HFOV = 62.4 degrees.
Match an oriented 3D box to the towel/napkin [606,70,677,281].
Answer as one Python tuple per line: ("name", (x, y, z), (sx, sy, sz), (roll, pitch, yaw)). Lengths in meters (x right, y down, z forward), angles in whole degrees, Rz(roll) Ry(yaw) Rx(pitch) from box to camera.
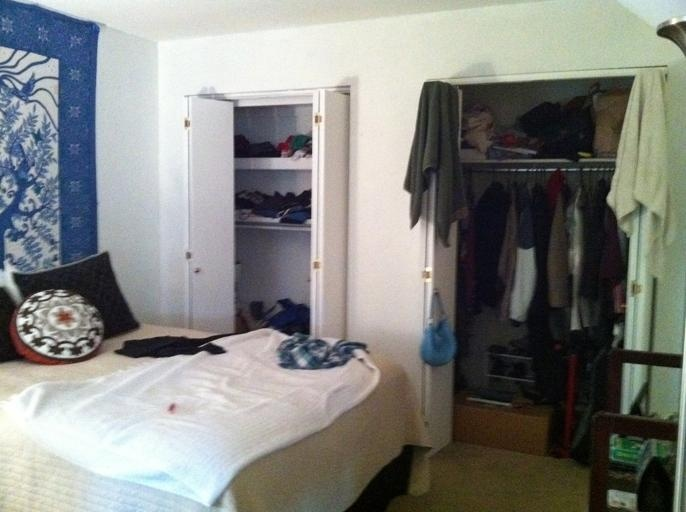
("towel/napkin", (1.797, -0.491, 3.223), (0.290, 1.140, 0.444), (-5, 14, -27))

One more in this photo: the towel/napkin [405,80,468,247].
("towel/napkin", (0.628, -0.588, 3.689), (0.401, 1.067, 0.307), (-2, 12, -13))

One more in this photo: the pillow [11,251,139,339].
("pillow", (-1.664, 0.295, 3.722), (0.165, 0.532, 0.559), (-29, -8, 31))

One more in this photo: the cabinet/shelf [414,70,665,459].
("cabinet/shelf", (1.491, -0.069, 4.142), (1.749, 2.565, 0.786), (1, -3, 15))

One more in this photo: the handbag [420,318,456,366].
("handbag", (0.657, 0.588, 3.944), (0.261, 0.349, 0.213), (-4, 2, -2))

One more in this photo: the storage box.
("storage box", (1.146, 1.249, 4.115), (0.516, 0.253, 0.372), (2, 0, 28))

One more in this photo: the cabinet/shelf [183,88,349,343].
("cabinet/shelf", (-0.742, -0.268, 4.891), (1.190, 2.189, 0.630), (0, 22, -11))
